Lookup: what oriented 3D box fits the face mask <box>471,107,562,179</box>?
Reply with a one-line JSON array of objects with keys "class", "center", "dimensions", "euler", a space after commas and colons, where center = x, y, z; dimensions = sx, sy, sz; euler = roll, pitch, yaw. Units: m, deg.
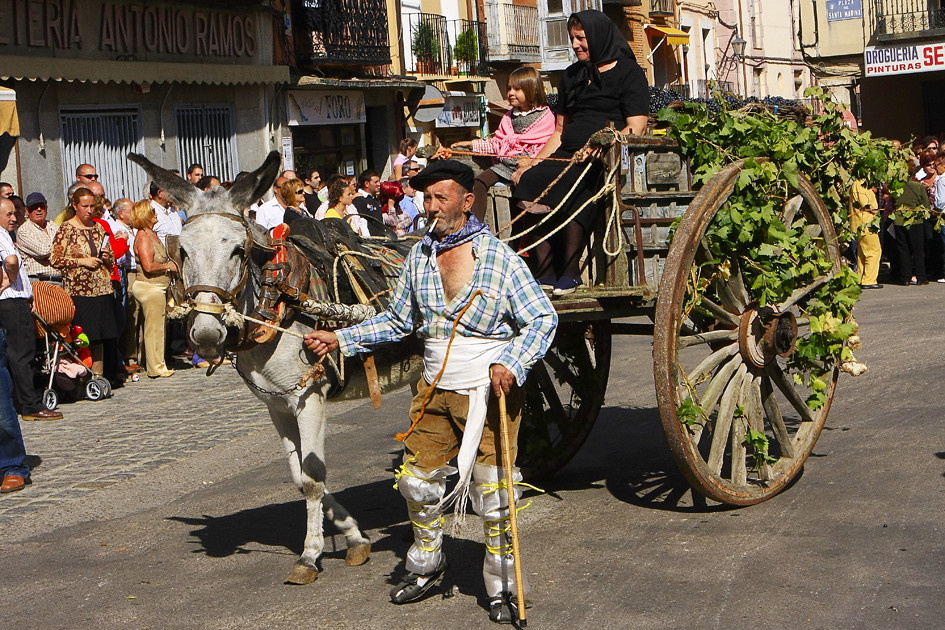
[{"class": "face mask", "center": [0.364, -1.664, 10.908], "dimensions": [0.667, 0.838, 0.930], "euler": [-1, -1, -3]}]

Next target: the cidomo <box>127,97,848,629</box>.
[{"class": "cidomo", "center": [0.294, -0.036, 9.684], "dimensions": [5.492, 2.975, 4.001], "euler": [-3, -2, -32]}]

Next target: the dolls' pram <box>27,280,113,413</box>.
[{"class": "dolls' pram", "center": [-5.325, 0.369, 14.432], "dimensions": [1.033, 1.507, 0.764], "euler": [0, 6, -17]}]

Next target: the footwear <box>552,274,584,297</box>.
[{"class": "footwear", "center": [0.808, -0.250, 9.790], "dimensions": [0.374, 0.155, 0.132], "euler": [-12, 1, -25]}]

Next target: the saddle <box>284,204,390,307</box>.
[{"class": "saddle", "center": [-1.209, -0.493, 9.430], "dimensions": [0.985, 0.433, 0.600], "euler": [35, 1, -18]}]

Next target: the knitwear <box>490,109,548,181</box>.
[{"class": "knitwear", "center": [0.446, -1.696, 10.776], "dimensions": [0.534, 0.755, 0.254], "euler": [16, -17, 45]}]

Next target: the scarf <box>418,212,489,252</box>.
[{"class": "scarf", "center": [-0.135, -0.592, 8.481], "dimensions": [0.368, 0.192, 0.294], "euler": [-27, 4, -27]}]

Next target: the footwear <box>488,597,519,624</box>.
[{"class": "footwear", "center": [0.236, 2.256, 8.375], "dimensions": [0.151, 0.084, 0.211], "euler": [0, 47, -1]}]

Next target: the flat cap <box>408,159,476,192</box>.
[{"class": "flat cap", "center": [-0.238, -1.056, 8.391], "dimensions": [0.344, 0.120, 0.258], "euler": [3, -5, -12]}]
